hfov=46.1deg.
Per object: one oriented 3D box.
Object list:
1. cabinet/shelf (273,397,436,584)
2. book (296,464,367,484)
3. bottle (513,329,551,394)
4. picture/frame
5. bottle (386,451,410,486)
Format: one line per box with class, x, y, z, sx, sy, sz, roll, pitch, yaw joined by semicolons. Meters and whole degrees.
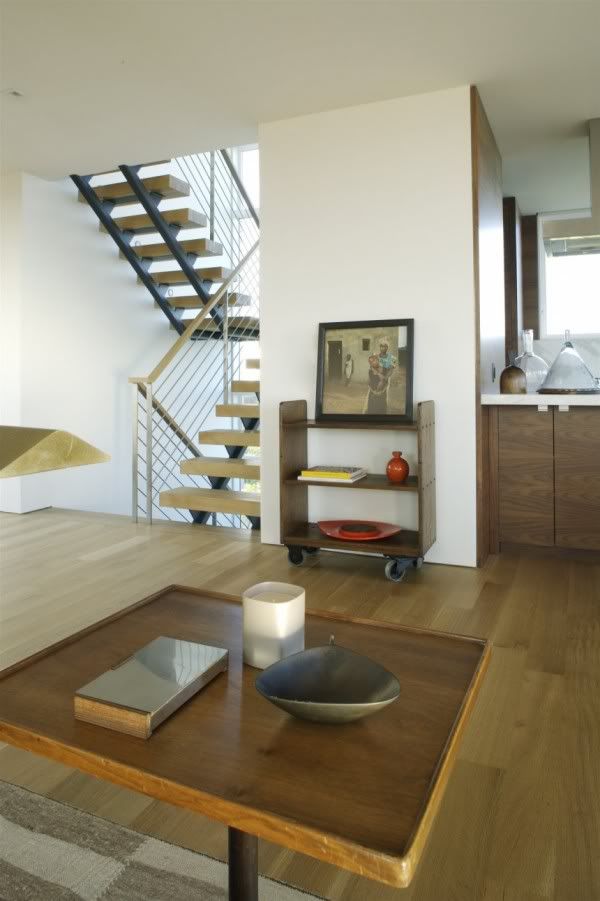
cabinet/shelf;0.249;0.145;3.251;0.641;0.734;0.300;2;8;21
book;0.137;0.116;3.258;0.287;0.050;0.243;1;8;16
bottle;1.316;-0.519;4.088;0.178;0.292;0.184;-2;15;0
picture/frame;0.320;-0.364;3.316;0.513;0.535;0.035;0;-2;28
bottle;0.436;0.084;3.176;0.124;0.172;0.128;0;-4;0
